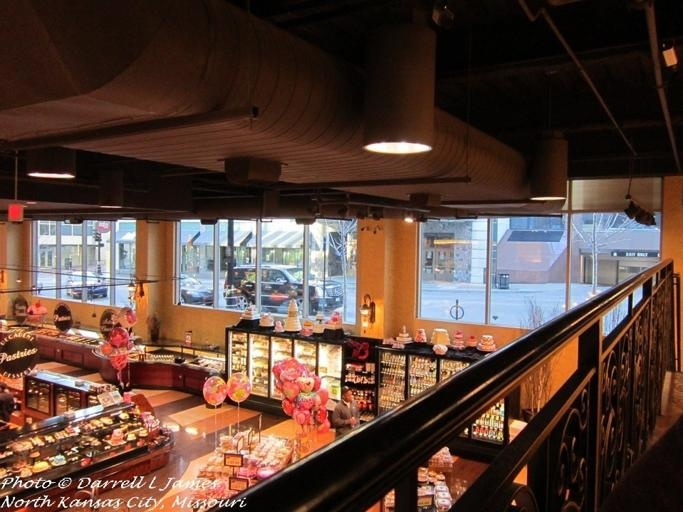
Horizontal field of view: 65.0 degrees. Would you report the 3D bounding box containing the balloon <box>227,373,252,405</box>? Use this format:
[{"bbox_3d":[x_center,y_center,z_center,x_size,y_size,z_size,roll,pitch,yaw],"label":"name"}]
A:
[{"bbox_3d":[-1.530,1.994,7.945,0.320,0.448,0.426,3,0,-12],"label":"balloon"}]

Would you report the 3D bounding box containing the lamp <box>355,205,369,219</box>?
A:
[{"bbox_3d":[0.323,-0.688,8.540,0.144,0.199,0.367,3,-1,23],"label":"lamp"}]

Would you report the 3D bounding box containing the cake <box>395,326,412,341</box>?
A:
[{"bbox_3d":[1.157,1.521,10.155,0.298,0.280,0.251,-1,2,-39],"label":"cake"}]

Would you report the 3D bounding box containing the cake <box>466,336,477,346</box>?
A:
[{"bbox_3d":[2.353,1.580,9.759,0.189,0.179,0.191,-1,-1,12],"label":"cake"}]

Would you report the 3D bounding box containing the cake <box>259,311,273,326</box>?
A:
[{"bbox_3d":[-1.594,1.338,11.243,0.265,0.186,0.260,2,-2,-35],"label":"cake"}]

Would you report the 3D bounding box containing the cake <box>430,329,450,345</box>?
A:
[{"bbox_3d":[1.806,1.494,9.800,0.297,0.263,0.351,-1,2,-22],"label":"cake"}]

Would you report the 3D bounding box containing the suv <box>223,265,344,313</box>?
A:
[{"bbox_3d":[-1.432,0.775,13.290,2.645,1.134,1.201,-1,-1,22],"label":"suv"}]

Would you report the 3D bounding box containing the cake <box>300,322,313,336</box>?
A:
[{"bbox_3d":[-0.700,1.476,10.841,0.234,0.282,0.380,3,0,-3],"label":"cake"}]

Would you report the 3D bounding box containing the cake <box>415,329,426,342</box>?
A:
[{"bbox_3d":[1.480,1.528,10.114,0.216,0.216,0.218,0,-6,2],"label":"cake"}]

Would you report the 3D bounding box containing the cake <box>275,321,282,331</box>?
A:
[{"bbox_3d":[-1.294,1.477,11.135,0.175,0.194,0.175,-2,2,-17],"label":"cake"}]

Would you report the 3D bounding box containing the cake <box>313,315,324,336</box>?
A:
[{"bbox_3d":[-0.455,1.412,10.928,0.318,0.356,0.319,0,-6,12],"label":"cake"}]

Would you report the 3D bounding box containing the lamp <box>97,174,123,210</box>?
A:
[{"bbox_3d":[-2.360,-0.679,5.494,0.224,0.395,0.254,3,-1,-26],"label":"lamp"}]

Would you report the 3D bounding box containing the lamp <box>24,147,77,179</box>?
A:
[{"bbox_3d":[-1.990,-0.610,3.648,0.229,0.171,0.233,0,-1,41],"label":"lamp"}]

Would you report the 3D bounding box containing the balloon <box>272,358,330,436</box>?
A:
[{"bbox_3d":[-0.447,1.730,6.419,0.539,0.462,0.943,3,-33,17],"label":"balloon"}]

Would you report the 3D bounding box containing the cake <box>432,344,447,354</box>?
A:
[{"bbox_3d":[1.713,1.662,9.388,0.233,0.170,0.330,3,0,12],"label":"cake"}]

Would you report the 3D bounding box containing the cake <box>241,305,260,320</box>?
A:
[{"bbox_3d":[-1.954,1.260,11.521,0.415,0.302,0.412,2,-3,-17],"label":"cake"}]

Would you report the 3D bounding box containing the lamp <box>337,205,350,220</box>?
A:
[{"bbox_3d":[0.007,-0.620,7.731,0.146,0.118,0.178,0,4,8],"label":"lamp"}]

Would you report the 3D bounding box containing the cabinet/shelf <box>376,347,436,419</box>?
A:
[{"bbox_3d":[1.147,2.288,9.633,1.074,1.142,0.335,3,-1,21],"label":"cabinet/shelf"}]

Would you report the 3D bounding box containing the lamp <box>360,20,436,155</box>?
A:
[{"bbox_3d":[0.319,-0.918,2.900,0.451,0.713,0.437,1,-5,-22],"label":"lamp"}]

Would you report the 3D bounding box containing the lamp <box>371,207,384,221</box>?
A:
[{"bbox_3d":[0.590,-0.680,8.632,0.162,0.182,0.190,1,0,37],"label":"lamp"}]
